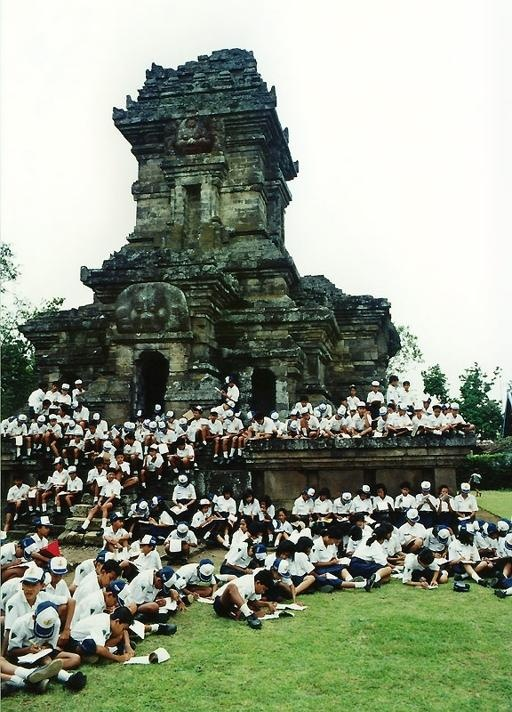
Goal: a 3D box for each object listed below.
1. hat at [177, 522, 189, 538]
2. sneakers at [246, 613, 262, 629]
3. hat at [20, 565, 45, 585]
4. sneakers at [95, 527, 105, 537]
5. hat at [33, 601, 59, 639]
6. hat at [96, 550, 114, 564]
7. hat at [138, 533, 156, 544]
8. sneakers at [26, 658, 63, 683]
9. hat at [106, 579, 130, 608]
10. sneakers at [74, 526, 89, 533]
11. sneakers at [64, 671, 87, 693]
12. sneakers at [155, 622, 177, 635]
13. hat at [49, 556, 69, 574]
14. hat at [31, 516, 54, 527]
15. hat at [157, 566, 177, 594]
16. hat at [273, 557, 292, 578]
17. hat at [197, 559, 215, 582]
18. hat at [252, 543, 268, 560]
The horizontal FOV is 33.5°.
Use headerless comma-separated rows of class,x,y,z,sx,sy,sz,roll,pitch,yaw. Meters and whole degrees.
hat,-0.949,2.237,11.010,0.132,0.171,0.089,1,-45,-5
sneakers,-0.020,2.767,8.913,0.151,0.127,0.322,2,-9,-6
hat,-2.103,2.055,8.045,0.199,0.166,0.253,3,-10,-15
sneakers,-2.272,2.548,12.388,0.086,0.090,0.224,-1,-16,1
hat,-1.874,2.355,7.696,0.213,0.172,0.322,14,23,-27
hat,-1.604,2.118,9.030,0.183,0.122,0.279,15,-13,-6
hat,-1.255,2.131,9.925,0.169,0.102,0.261,2,-9,-10
sneakers,-1.826,2.745,7.441,0.319,0.099,0.133,-15,11,-43
hat,-1.392,2.340,8.375,0.194,0.298,0.263,2,-10,-9
sneakers,-2.569,2.542,12.490,0.207,0.087,0.165,0,-9,2
sneakers,-1.574,2.826,7.445,0.197,0.153,0.204,2,-10,-11
sneakers,-0.914,2.770,8.697,0.146,0.058,0.104,6,4,-22
hat,-1.991,2.117,8.633,0.142,0.111,0.191,4,5,-32
hat,-2.815,2.178,11.288,0.327,0.148,0.431,4,-8,-14
hat,-0.994,2.450,9.367,0.138,0.267,0.170,-42,-10,16
hat,0.276,2.415,9.700,0.200,0.235,0.377,0,-9,1
hat,-0.569,2.415,9.655,0.177,0.243,0.277,1,-10,-4
hat,0.043,2.266,9.856,0.130,0.191,0.227,1,-10,-1
